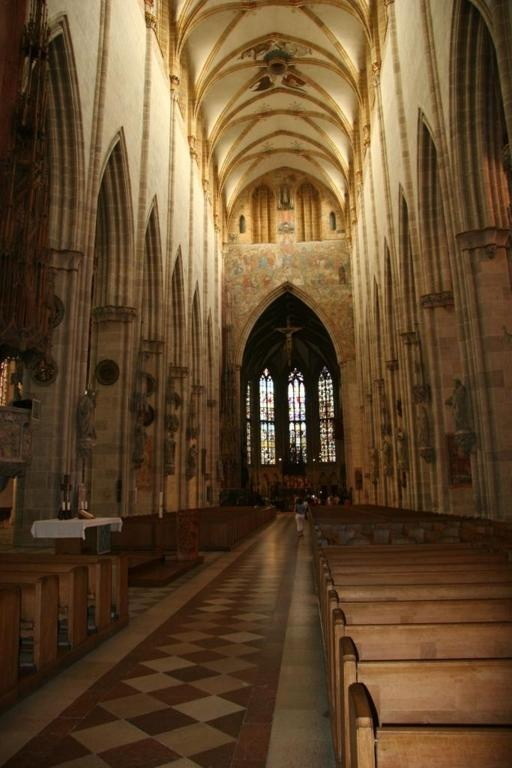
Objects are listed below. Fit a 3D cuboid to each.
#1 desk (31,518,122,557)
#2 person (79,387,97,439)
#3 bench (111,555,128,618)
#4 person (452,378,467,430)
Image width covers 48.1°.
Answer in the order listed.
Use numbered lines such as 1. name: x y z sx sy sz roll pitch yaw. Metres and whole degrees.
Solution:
1. desk: -2.121 1.864 6.981 0.802 0.499 1.421 -1 -10 -7
2. person: -3.182 0.553 10.874 0.241 1.025 0.667 -2 -10 -2
3. bench: -1.320 1.955 5.560 0.122 0.599 0.354 -1 -10 -6
4. person: 3.480 0.360 9.740 0.230 0.905 0.305 -4 -10 10
